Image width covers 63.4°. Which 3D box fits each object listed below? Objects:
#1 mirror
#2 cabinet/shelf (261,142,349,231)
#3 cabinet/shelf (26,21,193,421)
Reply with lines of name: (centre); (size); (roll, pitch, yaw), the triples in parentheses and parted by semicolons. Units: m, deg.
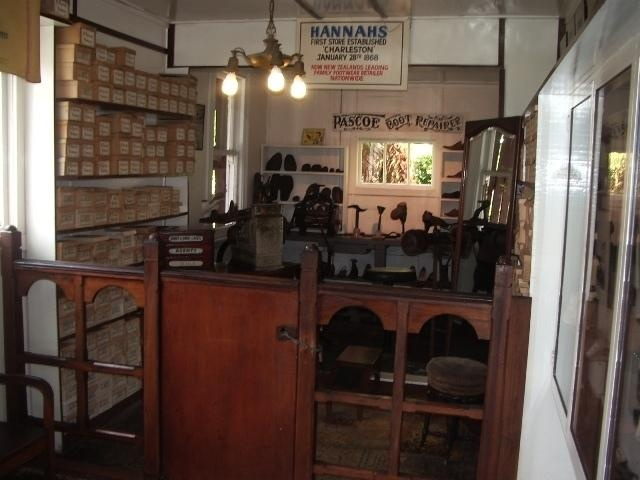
mirror: (1.548, -0.259, 4.966); (0.478, 1.801, 1.832); (4, 5, 14)
cabinet/shelf: (-0.210, -0.900, 8.367); (1.342, 1.390, 0.410); (1, 0, 3)
cabinet/shelf: (-1.940, -0.121, 4.904); (0.448, 3.469, 1.628); (4, 4, 17)
